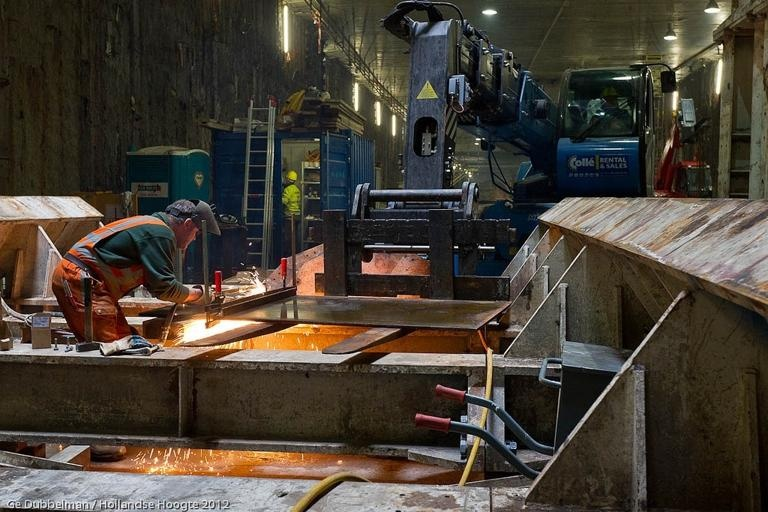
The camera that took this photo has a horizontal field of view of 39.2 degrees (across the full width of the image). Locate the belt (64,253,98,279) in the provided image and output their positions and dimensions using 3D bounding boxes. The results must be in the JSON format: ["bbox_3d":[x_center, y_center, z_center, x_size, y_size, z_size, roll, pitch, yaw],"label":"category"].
[{"bbox_3d":[-3.140,0.077,11.130,0.297,0.072,0.282,42,-10,7],"label":"belt"}]

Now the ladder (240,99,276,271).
[{"bbox_3d":[-2.251,-1.295,19.440,0.624,3.025,1.212,-1,7,-7],"label":"ladder"}]

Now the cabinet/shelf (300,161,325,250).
[{"bbox_3d":[-1.362,-0.959,20.081,0.386,1.677,0.928,-1,7,-5],"label":"cabinet/shelf"}]

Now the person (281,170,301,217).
[{"bbox_3d":[-1.697,-1.152,19.907,0.348,0.821,0.724,-1,6,-3],"label":"person"}]

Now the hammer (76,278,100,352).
[{"bbox_3d":[-2.791,0.568,10.196,0.240,0.676,0.125,-2,-6,-7],"label":"hammer"}]

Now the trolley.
[{"bbox_3d":[1.259,1.273,9.549,1.944,1.238,1.613,-2,-3,13],"label":"trolley"}]

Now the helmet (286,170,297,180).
[{"bbox_3d":[-1.720,-1.512,20.142,0.141,0.150,0.176,-3,10,-43],"label":"helmet"}]
